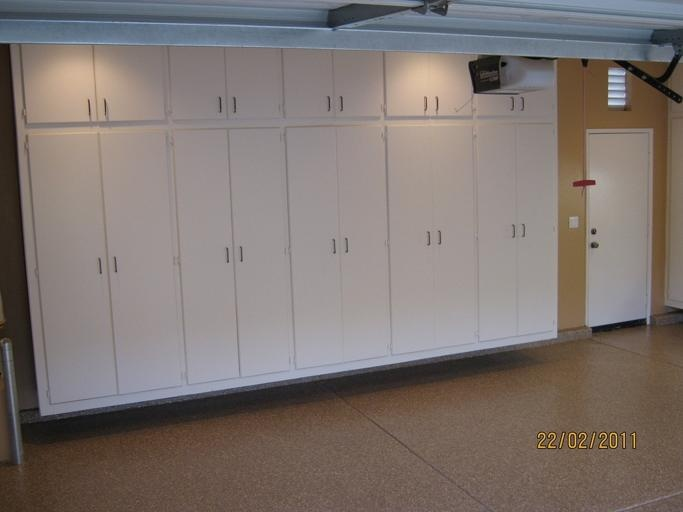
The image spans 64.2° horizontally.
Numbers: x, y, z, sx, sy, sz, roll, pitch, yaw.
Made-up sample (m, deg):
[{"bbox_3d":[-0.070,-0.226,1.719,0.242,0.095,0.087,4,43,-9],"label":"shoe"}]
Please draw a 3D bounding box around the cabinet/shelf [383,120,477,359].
[{"bbox_3d":[0.980,-0.189,6.006,1.069,2.427,0.281,-6,12,-17],"label":"cabinet/shelf"}]

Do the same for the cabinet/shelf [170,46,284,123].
[{"bbox_3d":[-1.259,-1.761,5.568,1.187,0.699,0.638,-8,24,-25],"label":"cabinet/shelf"}]

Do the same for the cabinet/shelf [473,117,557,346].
[{"bbox_3d":[2.043,-0.292,6.352,1.153,2.459,0.285,-7,12,-18],"label":"cabinet/shelf"}]

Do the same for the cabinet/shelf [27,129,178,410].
[{"bbox_3d":[-2.224,0.094,5.150,1.219,2.448,0.325,-5,12,-12],"label":"cabinet/shelf"}]

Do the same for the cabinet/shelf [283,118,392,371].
[{"bbox_3d":[-0.035,-0.104,5.708,1.035,2.422,0.465,-4,12,-6],"label":"cabinet/shelf"}]

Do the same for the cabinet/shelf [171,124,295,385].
[{"bbox_3d":[-1.052,-0.010,5.432,1.073,2.424,0.464,-4,12,-6],"label":"cabinet/shelf"}]

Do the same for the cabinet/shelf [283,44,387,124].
[{"bbox_3d":[-0.176,-1.813,5.847,1.177,0.670,0.678,-9,18,-28],"label":"cabinet/shelf"}]
